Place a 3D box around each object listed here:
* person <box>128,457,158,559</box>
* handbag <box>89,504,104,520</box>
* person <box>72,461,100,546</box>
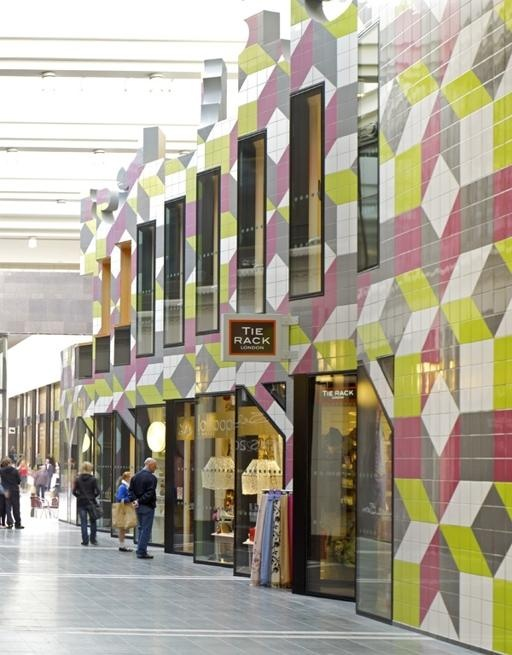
[{"bbox_3d":[-1.674,2.707,14.436,0.360,1.474,0.528,9,-12,-41],"label":"person"},{"bbox_3d":[-2.803,3.207,16.923,0.297,0.268,0.280,0,-11,14],"label":"handbag"},{"bbox_3d":[-3.012,2.998,17.241,0.376,0.488,1.841,1,-57,-4],"label":"person"}]
